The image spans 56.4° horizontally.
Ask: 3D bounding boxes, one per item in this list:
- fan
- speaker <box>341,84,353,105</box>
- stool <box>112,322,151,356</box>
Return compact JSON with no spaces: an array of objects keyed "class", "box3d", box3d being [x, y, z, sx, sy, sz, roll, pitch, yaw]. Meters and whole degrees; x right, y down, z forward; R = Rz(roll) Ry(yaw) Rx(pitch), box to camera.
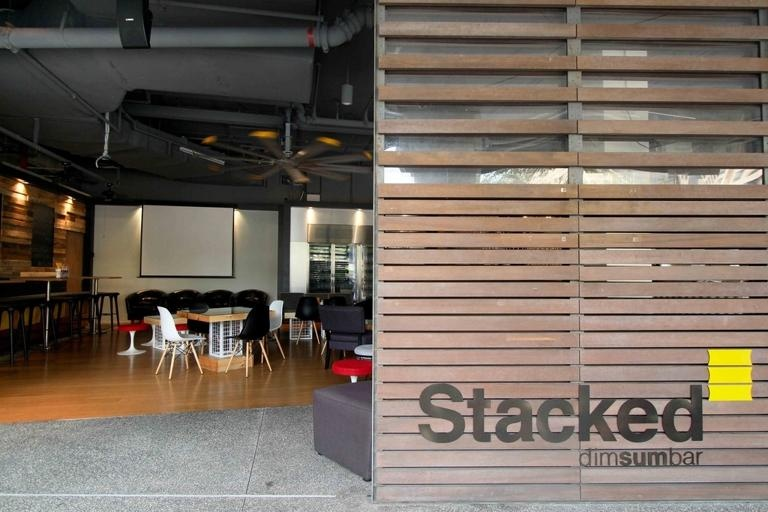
[{"class":"fan","box3d":[-1.324,-1.564,11.440,1.968,0.419,1.819,0,0,24]},{"class":"speaker","box3d":[-0.523,-2.379,10.462,0.118,0.254,0.242,3,4,8]},{"class":"stool","box3d":[-4.202,1.388,12.064,0.657,0.532,0.667,2,3,30]}]
